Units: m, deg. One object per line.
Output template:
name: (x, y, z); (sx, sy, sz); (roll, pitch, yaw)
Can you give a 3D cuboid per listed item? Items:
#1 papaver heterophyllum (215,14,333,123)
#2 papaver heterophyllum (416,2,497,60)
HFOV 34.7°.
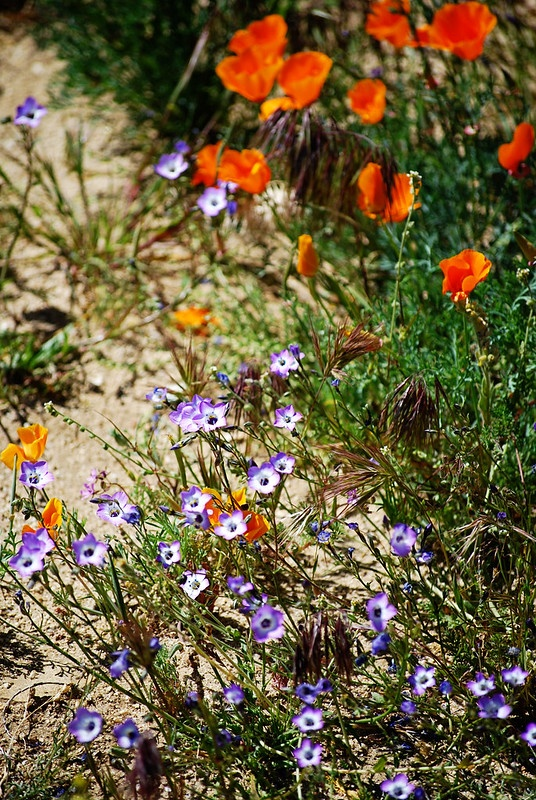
papaver heterophyllum: (-0.009, -0.970, 2.556); (0.333, 0.142, 0.336); (-21, 50, -30)
papaver heterophyllum: (0.582, -1.141, 2.644); (0.227, 0.177, 0.186); (7, 36, 13)
